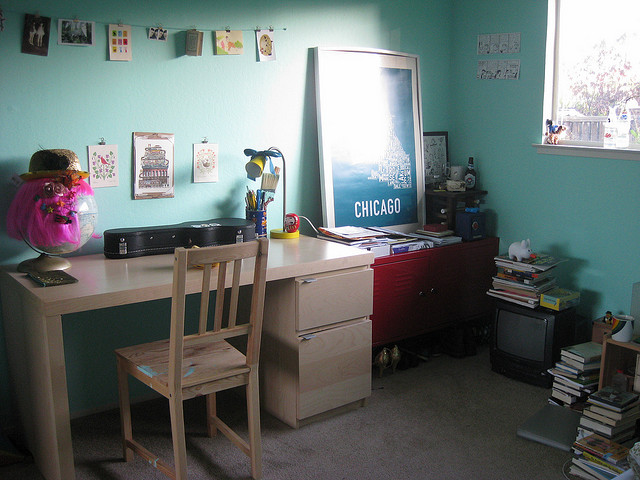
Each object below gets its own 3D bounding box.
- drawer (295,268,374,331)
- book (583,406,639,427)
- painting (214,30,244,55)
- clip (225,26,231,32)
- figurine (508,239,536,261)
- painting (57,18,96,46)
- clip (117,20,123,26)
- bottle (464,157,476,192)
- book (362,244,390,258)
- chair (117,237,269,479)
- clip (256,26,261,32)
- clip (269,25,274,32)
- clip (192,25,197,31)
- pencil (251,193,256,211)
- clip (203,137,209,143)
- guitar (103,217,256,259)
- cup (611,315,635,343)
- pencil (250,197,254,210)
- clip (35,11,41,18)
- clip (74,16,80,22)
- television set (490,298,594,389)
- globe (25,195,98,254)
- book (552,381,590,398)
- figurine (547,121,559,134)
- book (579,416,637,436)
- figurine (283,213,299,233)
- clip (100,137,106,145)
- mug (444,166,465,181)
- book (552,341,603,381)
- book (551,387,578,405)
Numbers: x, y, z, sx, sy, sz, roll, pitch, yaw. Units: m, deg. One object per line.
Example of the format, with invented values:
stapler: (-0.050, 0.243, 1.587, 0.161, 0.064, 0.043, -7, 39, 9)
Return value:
drawer: (0.072, 0.309, 2.555, 0.443, 0.258, 0.281, -5, 7, -35)
book: (1.414, 0.862, 2.352, 0.116, 0.027, 0.113, -9, 12, -36)
painting: (-0.533, -1.151, 2.821, 0.146, 0.113, 0.019, -10, 17, -32)
clip: (-0.532, -1.224, 2.821, 0.029, 0.039, 0.018, -8, 13, -26)
figurine: (1.313, 0.075, 3.168, 0.182, 0.140, 0.092, 2, 11, 26)
painting: (-1.226, -1.050, 2.441, 0.155, 0.111, 0.021, -4, 11, -34)
clip: (-1.037, -1.136, 2.538, 0.024, 0.030, 0.011, -6, 13, -21)
bottle: (1.147, -0.508, 3.733, 0.078, 0.243, 0.083, -2, 12, 0)
book: (0.370, 0.076, 3.061, 0.196, 0.074, 0.021, -10, 15, -36)
chair: (-0.620, 0.506, 2.392, 0.736, 1.133, 0.913, -7, 13, -24)
clip: (-0.365, -1.265, 2.909, 0.040, 0.039, 0.027, -4, 22, -12)
clip: (-0.287, -1.286, 2.955, 0.022, 0.037, 0.037, 9, 43, 19)
clip: (-0.700, -1.186, 2.719, 0.026, 0.025, 0.006, 3, -3, 0)
pencil: (-0.395, -0.226, 2.890, 0.010, 0.093, 0.010, -7, 10, -4)
clip: (-0.662, -0.582, 2.837, 0.043, 0.042, 0.023, -6, 22, -21)
guitar: (-0.746, -0.006, 2.672, 0.763, 0.176, 0.316, -6, 13, -29)
cup: (1.571, 0.465, 2.525, 0.122, 0.124, 0.109, 4, 14, 16)
pencil: (-0.400, -0.221, 2.890, 0.012, 0.063, 0.011, -2, 9, 33)
clip: (-1.364, -1.096, 2.359, 0.025, 0.035, 0.014, -8, 13, -28)
clip: (-1.216, -1.112, 2.440, 0.032, 0.031, 0.016, -7, 21, -30)
television set: (1.401, 0.579, 3.250, 0.539, 0.565, 0.582, -6, 9, -36)
globe: (-1.243, -0.110, 2.354, 0.190, 0.276, 0.287, 16, 19, 35)
book: (1.415, 0.841, 2.725, 0.123, 0.031, 0.121, -3, 13, -40)
figurine: (1.598, -0.766, 3.321, 0.061, 0.086, 0.022, 7, -4, -12)
book: (1.400, 0.899, 2.359, 0.117, 0.028, 0.116, -7, 12, -38)
figurine: (-0.170, -0.100, 2.919, 0.082, 0.108, 0.047, -3, 12, -7)
clip: (-1.140, -0.520, 2.571, 0.025, 0.047, 0.025, -6, 15, -29)
mug: (1.047, -0.518, 3.792, 0.129, 0.126, 0.110, -8, 13, -39)
book: (1.506, 0.708, 2.797, 0.278, 0.095, 0.212, 0, 3, -31)
book: (1.382, 0.886, 2.744, 0.078, 0.027, 0.077, 1, 7, -38)
